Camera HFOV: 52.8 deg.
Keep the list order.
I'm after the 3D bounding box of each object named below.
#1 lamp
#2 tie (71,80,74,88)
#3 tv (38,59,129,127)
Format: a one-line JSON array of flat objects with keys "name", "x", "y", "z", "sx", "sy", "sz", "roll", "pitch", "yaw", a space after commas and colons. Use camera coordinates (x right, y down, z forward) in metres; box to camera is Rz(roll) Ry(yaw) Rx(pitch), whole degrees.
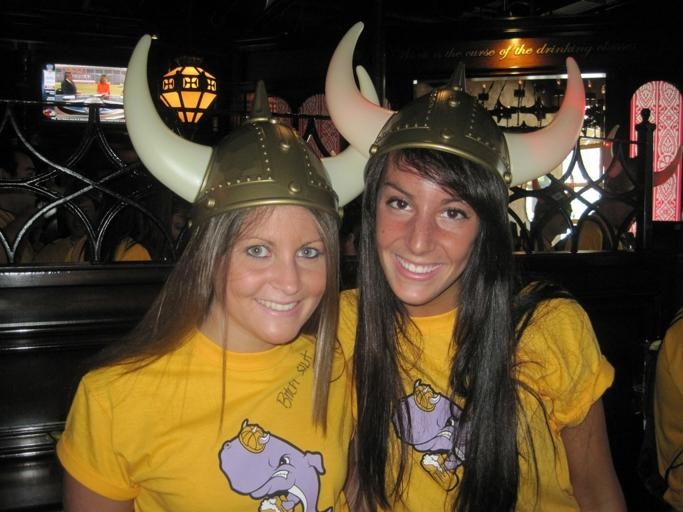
[{"name": "lamp", "x": -1.556, "y": -1.591, "z": 6.935, "sx": 0.480, "sy": 0.800, "sz": 0.455, "roll": -2, "pitch": 0, "yaw": 44}, {"name": "tie", "x": -3.524, "y": -2.246, "z": 8.983, "sx": 0.061, "sy": 0.110, "sz": 0.023, "roll": 3, "pitch": -3, "yaw": -25}, {"name": "tv", "x": -2.902, "y": -1.927, "z": 7.913, "sx": 1.041, "sy": 0.764, "sz": 2.762, "roll": -1, "pitch": 10, "yaw": -24}]
